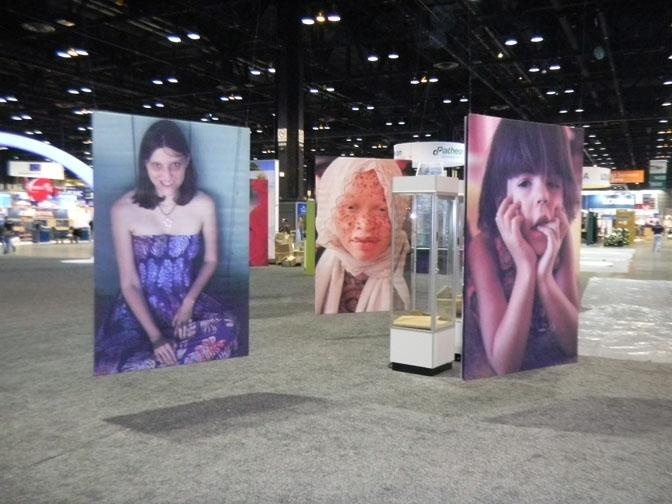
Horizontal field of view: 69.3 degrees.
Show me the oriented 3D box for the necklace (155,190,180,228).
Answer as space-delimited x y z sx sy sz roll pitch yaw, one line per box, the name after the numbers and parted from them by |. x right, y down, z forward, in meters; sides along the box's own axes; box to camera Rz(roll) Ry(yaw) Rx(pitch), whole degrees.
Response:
-1.500 -0.328 4.320 0.179 0.266 0.032 -6 6 -40 | necklace
